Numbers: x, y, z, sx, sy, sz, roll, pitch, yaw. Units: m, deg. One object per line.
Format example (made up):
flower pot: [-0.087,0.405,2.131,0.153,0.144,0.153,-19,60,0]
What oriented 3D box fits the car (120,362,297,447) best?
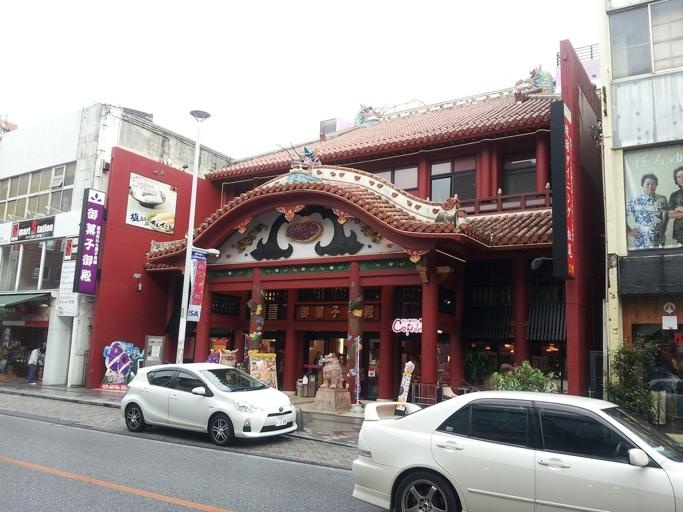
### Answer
car: [-3.476,3.838,13.881,3.774,1.422,2.110,-9,-18,28]

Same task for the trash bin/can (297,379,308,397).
trash bin/can: [-1.568,5.476,21.872,0.458,0.755,1.167,2,-11,-8]
